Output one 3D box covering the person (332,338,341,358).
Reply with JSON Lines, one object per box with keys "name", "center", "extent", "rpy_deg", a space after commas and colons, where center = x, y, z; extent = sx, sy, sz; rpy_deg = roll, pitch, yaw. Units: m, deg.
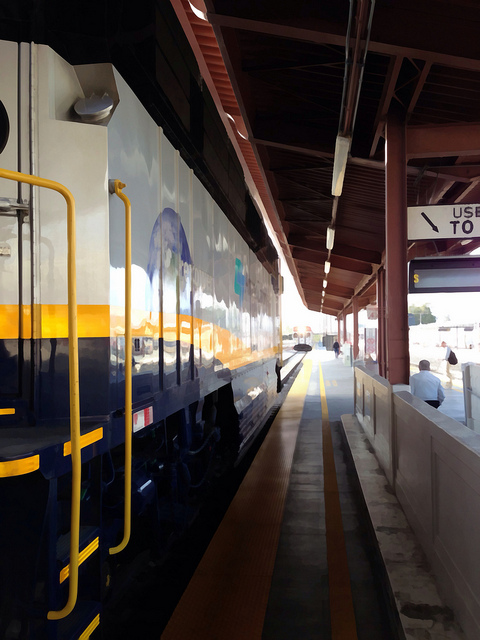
{"name": "person", "center": [7.722, 2.373, 33.605], "extent": [0.406, 1.278, 2.548], "rpy_deg": [-2, -4, 13]}
